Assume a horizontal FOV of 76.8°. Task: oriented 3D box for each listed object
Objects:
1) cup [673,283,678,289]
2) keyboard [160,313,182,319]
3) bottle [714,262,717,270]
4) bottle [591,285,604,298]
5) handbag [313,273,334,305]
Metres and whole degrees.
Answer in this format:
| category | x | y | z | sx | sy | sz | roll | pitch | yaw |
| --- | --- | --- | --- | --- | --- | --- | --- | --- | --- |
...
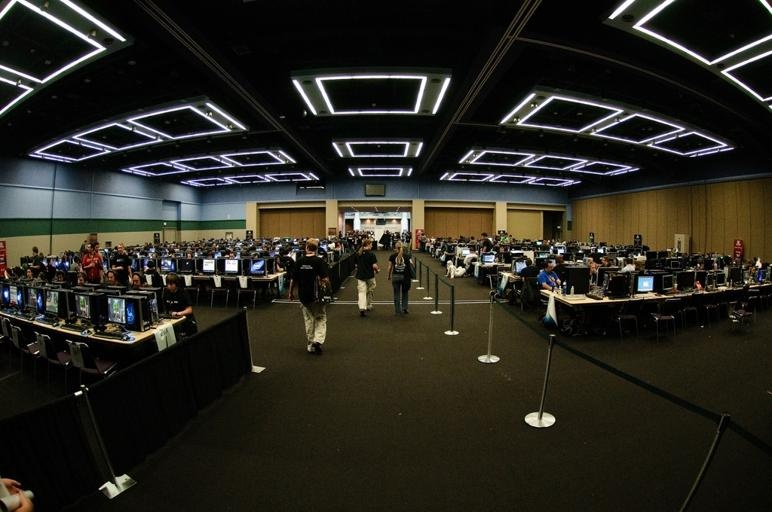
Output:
| category | x | y | z | sx | sy | sz | roll | pitch | yaw |
| --- | --- | --- | --- | --- | --- | --- | --- | --- | --- |
| cup | 7.805 | 0.815 | 13.163 | 0.096 | 0.109 | 0.096 | 2 | -9 | 0 |
| keyboard | -4.918 | 1.375 | 11.151 | 0.431 | 0.155 | 0.154 | 0 | 0 | -12 |
| bottle | 10.522 | 0.326 | 15.609 | 0.096 | 0.208 | 0.156 | -7 | -18 | 41 |
| bottle | 5.494 | 0.944 | 12.754 | 0.348 | 0.255 | 0.659 | 1 | 3 | 24 |
| handbag | -1.528 | 0.779 | 11.597 | 0.525 | 0.735 | 0.262 | 3 | 0 | -13 |
